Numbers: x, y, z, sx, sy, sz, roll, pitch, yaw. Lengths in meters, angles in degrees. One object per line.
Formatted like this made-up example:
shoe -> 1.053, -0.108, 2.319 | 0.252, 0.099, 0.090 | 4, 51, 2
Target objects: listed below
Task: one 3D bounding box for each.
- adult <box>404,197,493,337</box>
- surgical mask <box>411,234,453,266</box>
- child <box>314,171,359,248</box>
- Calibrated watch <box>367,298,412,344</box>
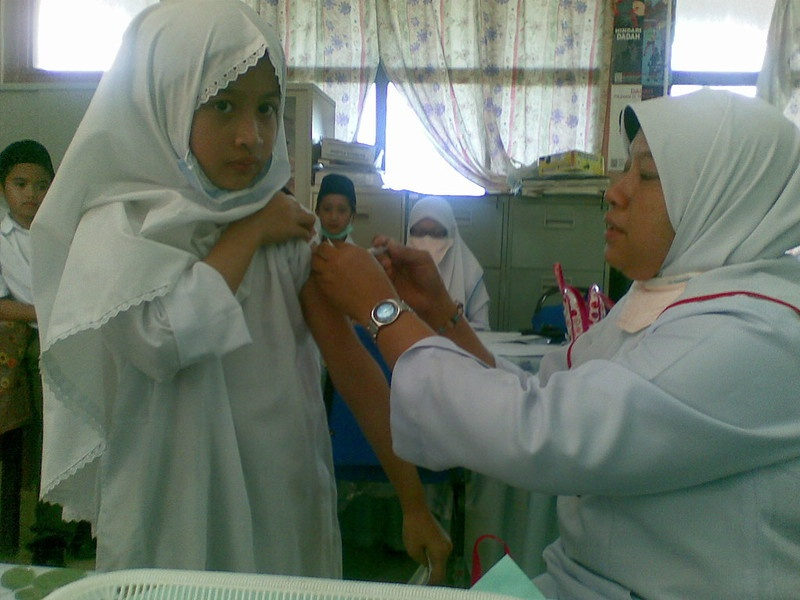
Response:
adult -> 0.214, -0.061, 3.871 | 0.404, 0.899, 0.283 | -10, -21, 18
surgical mask -> 0.148, -0.272, 3.799 | 0.162, 0.155, 0.180 | 0, -37, 5
child -> -0.293, -0.393, 3.654 | 0.212, 0.380, 0.203 | 10, 12, 27
Calibrated watch -> -0.026, 0.029, 1.635 | 0.088, 0.061, 0.089 | -28, -26, 0
